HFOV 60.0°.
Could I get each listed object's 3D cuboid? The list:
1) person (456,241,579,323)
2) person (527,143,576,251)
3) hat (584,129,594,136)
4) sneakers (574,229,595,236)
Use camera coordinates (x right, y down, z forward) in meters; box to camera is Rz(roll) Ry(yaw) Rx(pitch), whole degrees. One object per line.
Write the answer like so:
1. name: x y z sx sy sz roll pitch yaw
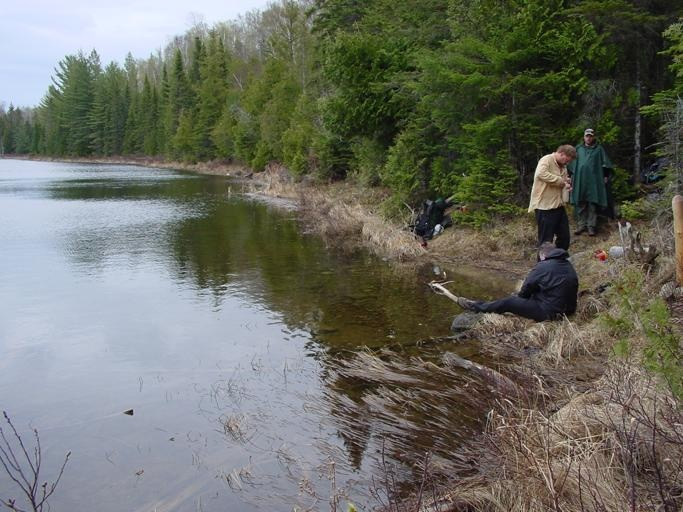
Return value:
1. person: 2.919 0.417 9.565 1.111 0.987 1.435 -6 9 -36
2. person: 4.013 -1.114 11.339 0.763 1.990 0.586 4 11 18
3. hat: 5.279 -2.694 12.632 0.191 0.137 0.274 5 -6 21
4. sneakers: 5.539 -0.559 13.421 0.147 0.185 0.423 -7 13 -39
